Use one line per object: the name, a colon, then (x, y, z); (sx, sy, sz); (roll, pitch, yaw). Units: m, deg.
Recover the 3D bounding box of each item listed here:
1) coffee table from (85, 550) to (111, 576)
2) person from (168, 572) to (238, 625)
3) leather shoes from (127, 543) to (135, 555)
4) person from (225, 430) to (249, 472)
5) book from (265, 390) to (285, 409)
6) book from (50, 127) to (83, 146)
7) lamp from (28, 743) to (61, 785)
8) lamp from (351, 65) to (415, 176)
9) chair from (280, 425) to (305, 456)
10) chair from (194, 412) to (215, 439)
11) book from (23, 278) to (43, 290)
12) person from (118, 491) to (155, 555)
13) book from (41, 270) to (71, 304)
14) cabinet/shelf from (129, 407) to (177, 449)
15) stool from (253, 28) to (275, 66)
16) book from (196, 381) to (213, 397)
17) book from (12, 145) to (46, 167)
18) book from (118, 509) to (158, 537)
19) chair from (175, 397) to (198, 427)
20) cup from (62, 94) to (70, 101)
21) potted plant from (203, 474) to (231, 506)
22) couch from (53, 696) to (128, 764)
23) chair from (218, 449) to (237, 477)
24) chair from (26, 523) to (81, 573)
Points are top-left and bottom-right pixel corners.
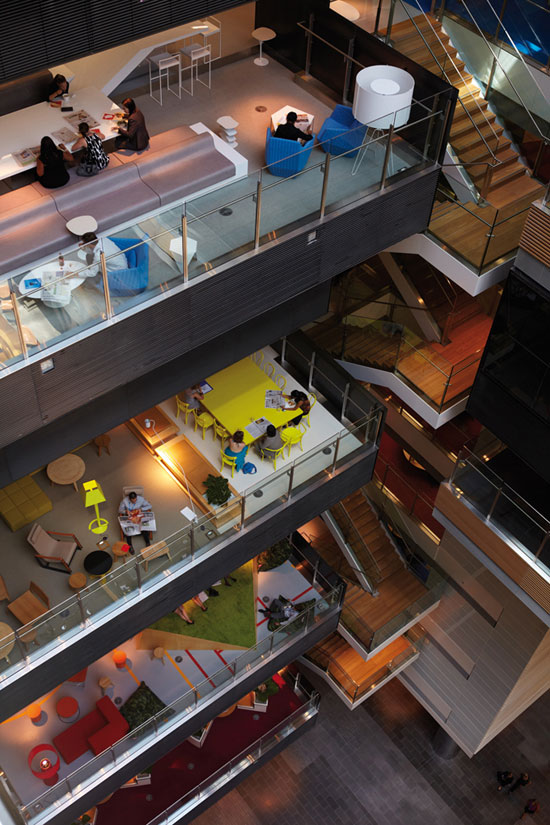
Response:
coffee table: (-2.331, 1.968, 8.644); (0.366, 0.155, 0.417); (-2, 43, -9)
person: (-1.320, 3.511, 12.550); (0.381, 0.278, 1.336); (31, 49, 25)
leather shoes: (-1.931, 1.842, 8.837); (0.054, 0.064, 0.164); (-19, 81, -19)
person: (-0.588, 0.532, 9.788); (0.340, 0.769, 0.360); (2, 43, -4)
book: (-0.001, -0.195, 10.536); (0.241, 0.016, 0.355); (1, 50, -5)
book: (-2.739, -3.626, 8.621); (0.327, 0.076, 0.327); (32, 58, 18)
lamp: (-3.507, 5.335, 10.003); (0.397, 0.642, 0.423); (-5, 46, -8)
lamp: (1.367, -3.891, 8.592); (0.772, 0.816, 1.551); (10, 43, 4)
chair: (0.254, 0.454, 10.289); (0.282, 0.335, 0.240); (-35, 72, -22)
chair: (-1.092, 0.205, 10.242); (0.213, 0.222, 0.304); (38, 14, -11)
book: (-2.097, -1.111, 5.668); (0.015, 0.077, 0.115); (32, 54, 31)
person: (-1.905, 1.493, 9.024); (0.480, 0.295, 0.816); (-9, 68, -11)
book: (-1.945, -1.097, 5.851); (0.207, 0.271, 0.100); (-10, 17, -38)
cabinet/shelf: (-1.896, 0.249, 10.301); (0.552, 0.215, 0.827); (-29, 59, -24)
stool: (-0.180, -6.194, 11.120); (0.391, 0.571, 0.371); (-30, 67, -16)
book: (-1.112, -0.381, 10.471); (0.199, 0.053, 0.215); (45, 48, 2)
book: (-3.045, -3.163, 8.119); (0.367, 0.086, 0.366); (-18, 55, -5)
book: (-1.873, 1.520, 8.998); (0.371, 0.122, 0.361); (-12, 60, -29)
chair: (-1.382, -0.006, 10.346); (0.235, 0.345, 0.240); (41, 70, 12)
cup: (-2.982, -4.487, 9.343); (0.107, 0.057, 0.100); (10, 65, -22)
potted plant: (-0.823, 1.096, 9.254); (0.381, 0.148, 0.419); (21, 55, 13)
couch: (-2.884, 5.105, 10.422); (1.118, 0.426, 0.778); (-32, 55, -34)
chair: (-0.701, 0.770, 9.817); (0.225, 0.350, 0.261); (20, 65, 8)
chair: (-2.885, 1.847, 8.854); (0.721, 0.521, 0.505); (17, 58, 3)
